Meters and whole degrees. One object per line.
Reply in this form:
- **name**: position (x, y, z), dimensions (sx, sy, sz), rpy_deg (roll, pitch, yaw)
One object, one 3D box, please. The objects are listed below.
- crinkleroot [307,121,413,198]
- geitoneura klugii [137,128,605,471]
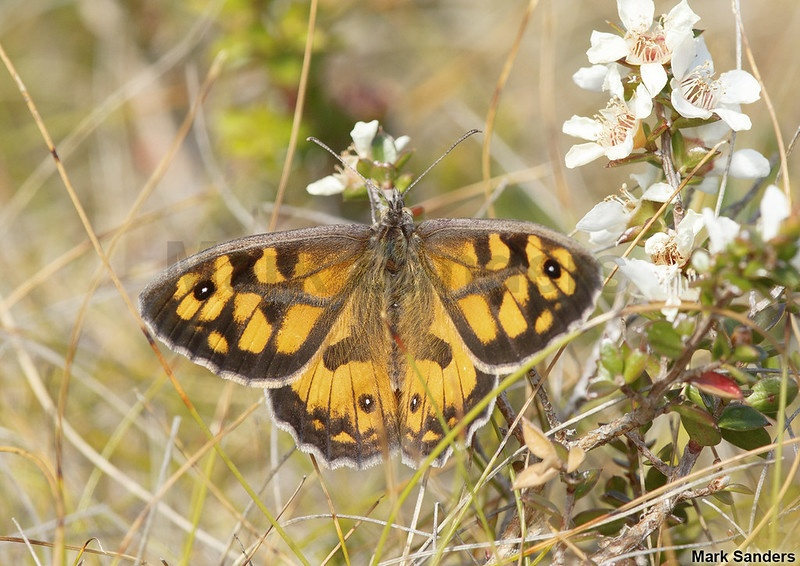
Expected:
- **crinkleroot**: position (-0.185, -0.627, 3.826), dimensions (0.364, 0.252, 0.453), rpy_deg (-10, -57, -21)
- **geitoneura klugii**: position (-0.123, 0.156, 3.728), dimensions (1.934, 1.023, 1.033), rpy_deg (-18, -52, -2)
